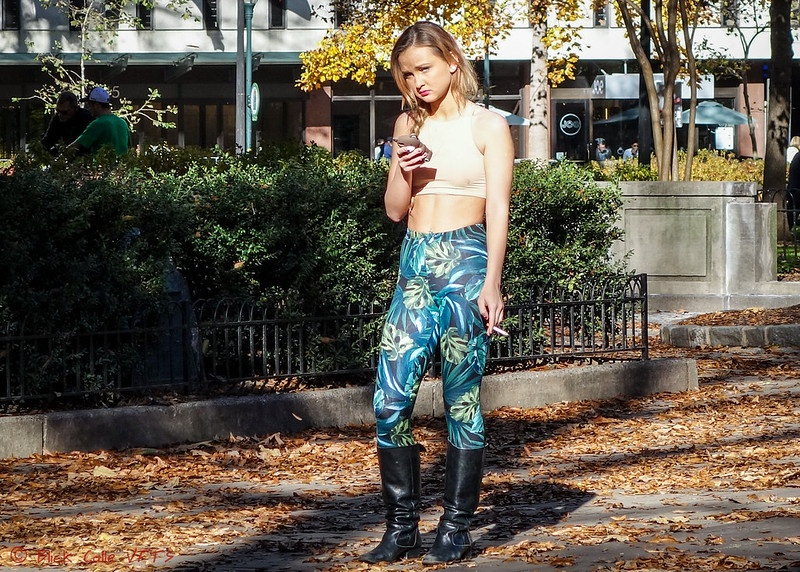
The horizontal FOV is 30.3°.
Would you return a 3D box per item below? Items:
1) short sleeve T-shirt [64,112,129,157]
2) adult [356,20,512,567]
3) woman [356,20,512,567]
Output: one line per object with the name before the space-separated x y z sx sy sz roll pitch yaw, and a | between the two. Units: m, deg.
short sleeve T-shirt | -3.044 -1.573 15.588 0.284 0.463 0.882 7 8 38
adult | 0.300 0.049 10.136 0.954 3.647 0.817 0 11 3
woman | 0.301 0.049 10.136 0.955 3.647 0.815 0 11 3
